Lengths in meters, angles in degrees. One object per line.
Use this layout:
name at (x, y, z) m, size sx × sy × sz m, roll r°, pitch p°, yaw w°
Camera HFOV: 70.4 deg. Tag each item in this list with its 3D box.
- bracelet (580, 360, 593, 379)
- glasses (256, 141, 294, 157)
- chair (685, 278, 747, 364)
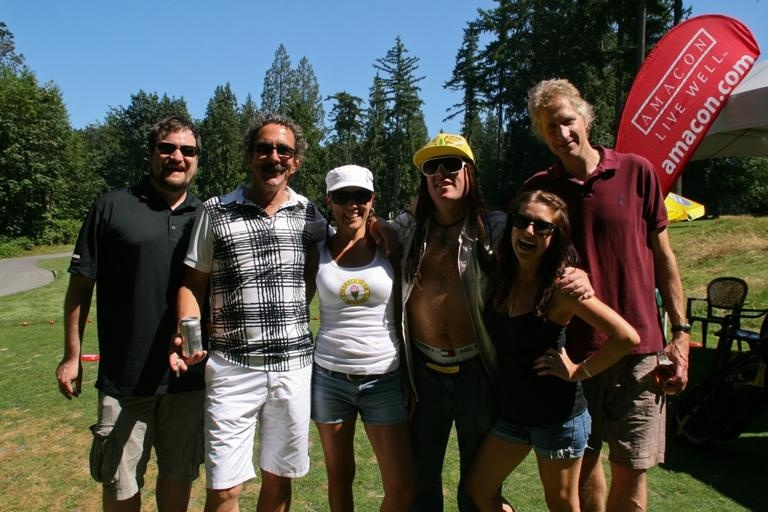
bracelet at (1.860, 1.066, 5.068) m, size 0.126 × 0.157 × 0.059 m, roll -17°, pitch -8°, yaw -27°
glasses at (-1.097, -1.080, 5.423) m, size 0.195 × 0.063 × 0.203 m, roll 3°, pitch -19°, yaw -8°
chair at (5.430, 0.961, 8.956) m, size 0.962 × 1.268 × 0.972 m, roll 2°, pitch -2°, yaw 13°
